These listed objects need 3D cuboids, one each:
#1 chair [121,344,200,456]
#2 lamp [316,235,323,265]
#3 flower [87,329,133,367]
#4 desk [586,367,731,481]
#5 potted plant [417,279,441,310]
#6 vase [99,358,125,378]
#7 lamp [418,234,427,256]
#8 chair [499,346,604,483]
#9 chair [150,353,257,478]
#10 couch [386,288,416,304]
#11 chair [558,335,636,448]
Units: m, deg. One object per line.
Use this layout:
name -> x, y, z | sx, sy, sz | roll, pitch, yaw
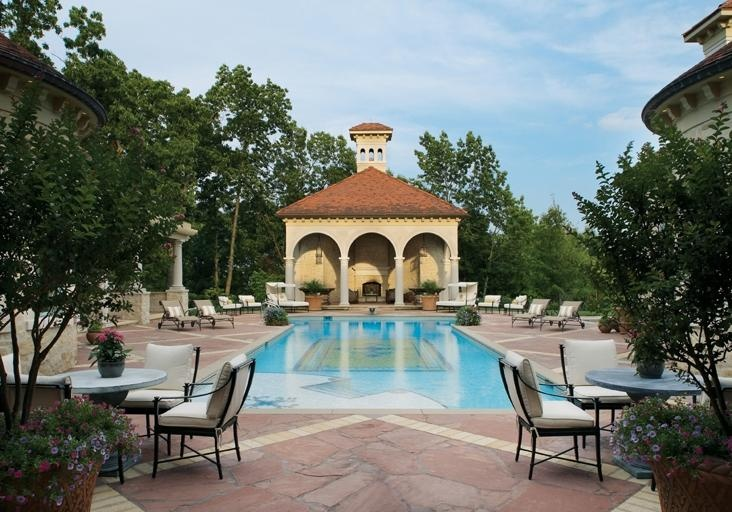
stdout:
chair -> -2.712, 1.974, 7.473 | 0.942, 1.440, 1.095 | 5, 4, -45
lamp -> -2.898, -0.308, 32.978 | 0.395, 1.660, 0.142 | 0, 0, -5
flower -> -3.323, 1.217, 7.119 | 0.490, 0.496, 0.498 | 9, -19, -39
desk -> 3.116, 1.793, 5.748 | 1.528, 0.470, 1.508 | 0, 2, 13
potted plant -> 3.352, 2.126, 28.889 | 1.401, 1.619, 1.362 | 1, -8, -2
vase -> -3.318, 1.443, 6.998 | 0.265, 0.164, 0.260 | 7, -10, -10
lamp -> 3.379, -0.623, 32.688 | 0.258, 1.336, 1.045 | -1, 0, -43
chair -> 2.277, 1.918, 6.829 | 1.363, 1.309, 1.365 | 0, -3, 26
chair -> -2.009, 1.957, 6.807 | 1.156, 1.298, 1.090 | 0, -6, -7
couch -> 2.002, 2.417, 32.132 | 1.475, 0.864, 0.828 | -1, -2, 0
chair -> 3.364, 1.884, 7.616 | 1.030, 1.352, 1.079 | -4, 0, 16
